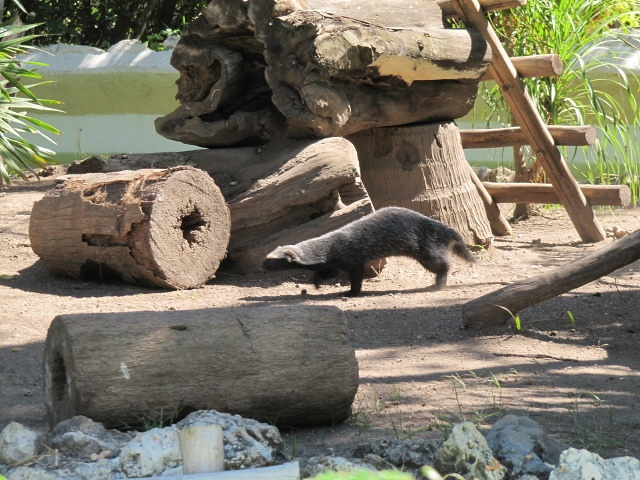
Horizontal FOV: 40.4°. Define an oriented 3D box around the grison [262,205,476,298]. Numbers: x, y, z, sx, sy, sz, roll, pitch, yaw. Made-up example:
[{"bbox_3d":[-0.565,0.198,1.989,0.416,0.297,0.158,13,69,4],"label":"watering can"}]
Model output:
[{"bbox_3d":[0.621,0.126,9.174,2.085,0.815,0.705,-8,26,-20],"label":"grison"}]
